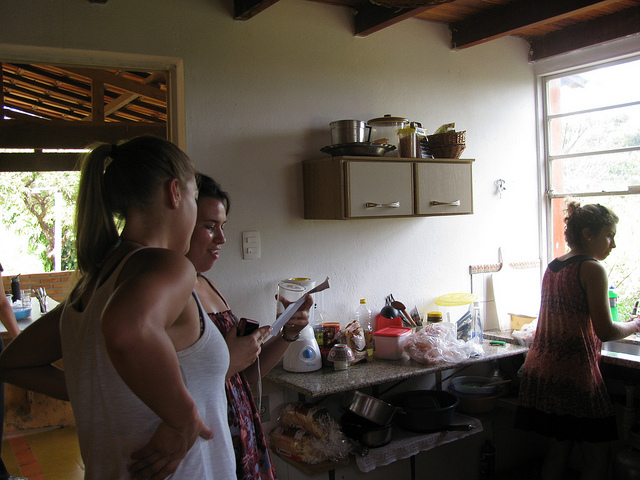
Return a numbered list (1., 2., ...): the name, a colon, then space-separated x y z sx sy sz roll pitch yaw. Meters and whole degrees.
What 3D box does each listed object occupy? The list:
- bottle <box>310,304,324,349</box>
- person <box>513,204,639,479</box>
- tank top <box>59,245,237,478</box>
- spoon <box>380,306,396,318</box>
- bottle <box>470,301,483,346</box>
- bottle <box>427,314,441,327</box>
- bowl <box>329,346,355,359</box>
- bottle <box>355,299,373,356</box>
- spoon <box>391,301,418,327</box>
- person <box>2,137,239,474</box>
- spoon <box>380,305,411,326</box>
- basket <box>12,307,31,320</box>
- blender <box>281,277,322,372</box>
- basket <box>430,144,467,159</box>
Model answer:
1. bottle: -0.011 0.536 3.110 0.090 0.327 0.086 -3 19 1
2. person: 1.424 0.568 2.844 0.610 1.528 0.291 0 4 22
3. tank top: -0.484 0.361 1.402 0.468 0.692 0.228 -3 4 -14
4. spoon: 0.439 0.463 3.228 0.072 0.061 0.058 23 -9 7
5. bottle: 1.086 0.560 3.505 0.082 0.265 0.361 -1 4 17
6. bottle: 0.749 0.518 3.312 0.074 0.075 0.076 0 2 31
7. bowl: 0.134 0.638 2.881 0.078 0.049 0.078 -3 -7 0
8. bottle: 0.277 0.530 3.180 0.110 0.309 0.320 -1 4 5
9. spoon: 0.551 0.489 3.344 0.041 0.179 0.034 -29 -9 -21
10. person: -0.485 0.206 1.358 0.465 0.982 0.363 -2 4 -10
11. spoon: 0.496 0.499 3.275 0.214 0.148 0.121 -2 4 -3
12. basket: -2.702 0.661 4.599 0.179 0.058 0.186 -3 16 -33
13. blender: -0.104 0.476 2.948 0.225 0.520 0.336 -2 4 1
14. basket: 0.821 -0.569 3.242 0.217 0.097 0.112 -1 4 8
